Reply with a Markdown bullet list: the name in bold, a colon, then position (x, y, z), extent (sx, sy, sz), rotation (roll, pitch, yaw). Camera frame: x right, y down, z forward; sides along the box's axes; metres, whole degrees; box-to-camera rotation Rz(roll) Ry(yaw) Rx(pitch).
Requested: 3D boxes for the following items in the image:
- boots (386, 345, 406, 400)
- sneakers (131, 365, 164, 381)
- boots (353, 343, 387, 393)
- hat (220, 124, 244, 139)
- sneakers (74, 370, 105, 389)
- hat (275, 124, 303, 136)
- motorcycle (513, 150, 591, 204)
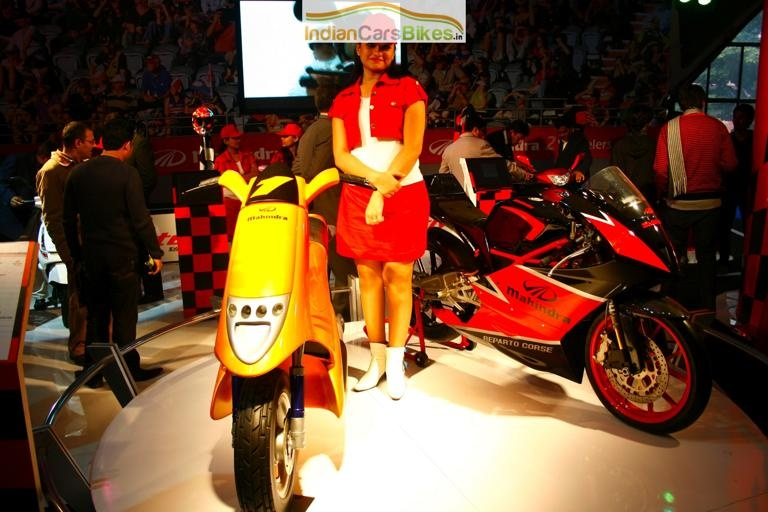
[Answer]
- **boots**: position (0.065, 0.761, 3.389), extent (0.151, 0.302, 0.444), rotation (0, -3, -2)
- **sneakers**: position (-1.909, 0.954, 4.223), extent (0.269, 0.108, 0.087), rotation (-4, 15, -4)
- **boots**: position (-0.084, 0.734, 3.514), extent (0.147, 0.283, 0.407), rotation (7, 13, 24)
- **hat**: position (-2.119, -1.728, 7.187), extent (0.228, 0.211, 0.260), rotation (-3, 8, -21)
- **sneakers**: position (-2.424, 1.004, 4.294), extent (0.395, 0.100, 0.139), rotation (6, 9, 41)
- **hat**: position (-1.102, -1.509, 6.185), extent (0.221, 0.157, 0.244), rotation (-3, 8, -19)
- **motorcycle**: position (1.166, -0.607, 3.576), extent (0.331, 0.377, 0.635), rotation (-11, 20, -38)
